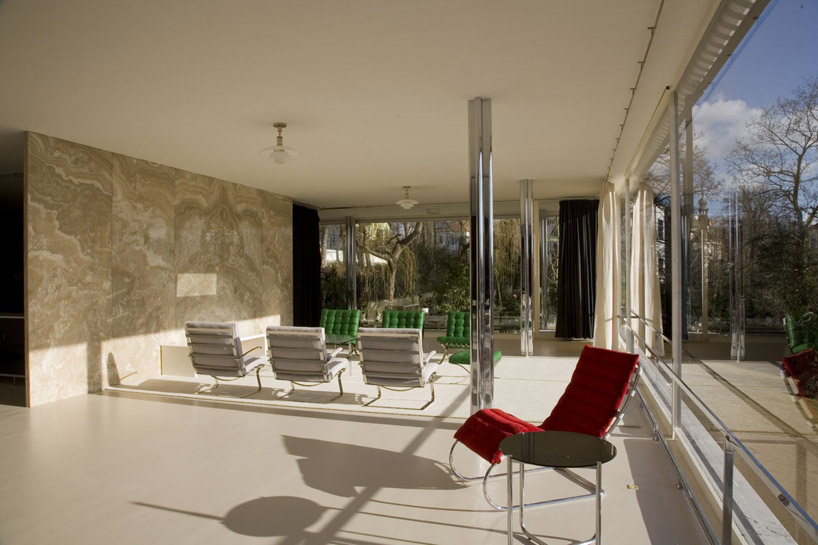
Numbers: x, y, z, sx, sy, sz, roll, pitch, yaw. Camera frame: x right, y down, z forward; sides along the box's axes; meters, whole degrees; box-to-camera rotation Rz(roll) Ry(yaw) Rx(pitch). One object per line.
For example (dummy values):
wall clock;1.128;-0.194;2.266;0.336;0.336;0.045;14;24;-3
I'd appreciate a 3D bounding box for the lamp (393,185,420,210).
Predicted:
lamp;-0.044;-1.589;11.196;0.471;0.433;0.490;-3;-9;26

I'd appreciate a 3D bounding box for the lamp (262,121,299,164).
lamp;-1.757;-1.719;7.110;0.497;0.572;0.517;0;-3;26

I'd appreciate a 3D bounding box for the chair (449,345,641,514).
chair;1.276;1.365;5.197;1.809;1.463;1.054;3;-3;-19
